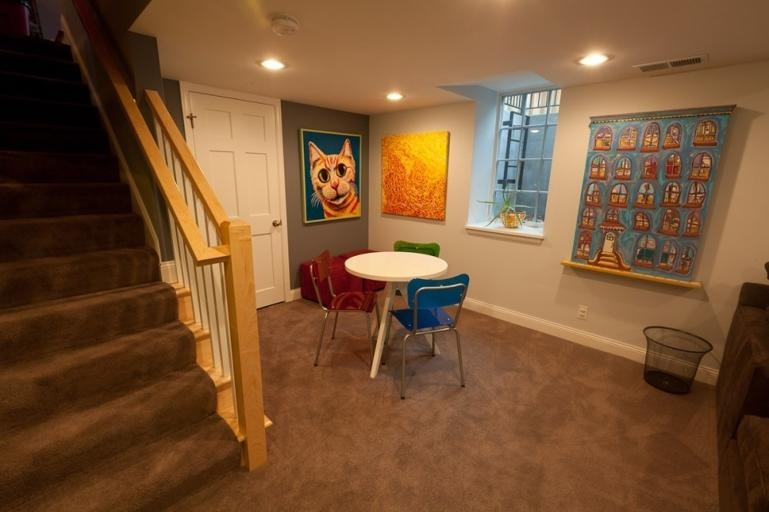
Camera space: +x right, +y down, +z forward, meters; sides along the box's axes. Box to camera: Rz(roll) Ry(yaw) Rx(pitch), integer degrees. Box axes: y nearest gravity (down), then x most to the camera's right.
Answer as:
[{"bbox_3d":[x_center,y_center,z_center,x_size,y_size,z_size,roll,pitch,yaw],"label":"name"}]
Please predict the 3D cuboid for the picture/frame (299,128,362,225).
[{"bbox_3d":[-0.675,-0.981,5.718,0.998,1.229,0.089,-18,28,-42],"label":"picture/frame"}]

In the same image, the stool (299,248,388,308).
[{"bbox_3d":[-0.631,0.250,5.662,1.042,0.503,0.552,-10,16,-39],"label":"stool"}]

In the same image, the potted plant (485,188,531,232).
[{"bbox_3d":[1.308,-0.504,5.188,0.406,0.400,0.275,5,4,-12],"label":"potted plant"}]

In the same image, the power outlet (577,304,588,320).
[{"bbox_3d":[1.939,0.542,4.702,0.110,0.188,0.024,16,27,33],"label":"power outlet"}]

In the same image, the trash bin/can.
[{"bbox_3d":[2.507,0.893,4.180,0.530,0.483,0.379,11,15,35],"label":"trash bin/can"}]
